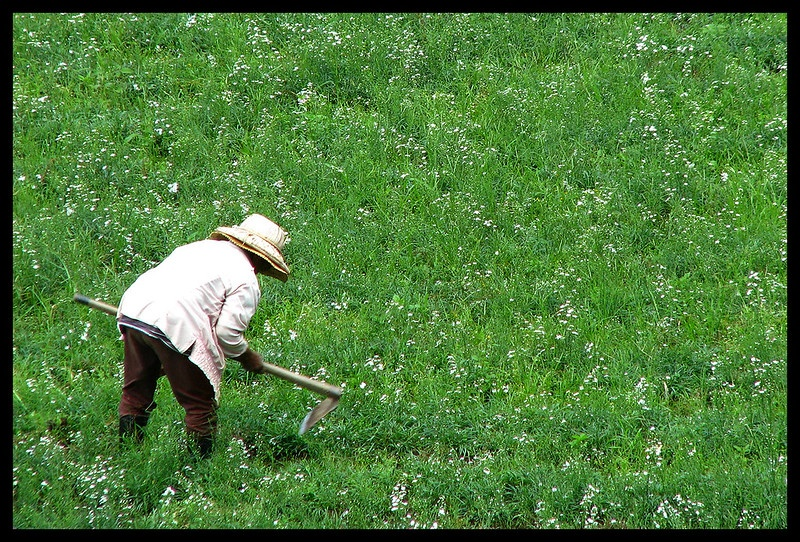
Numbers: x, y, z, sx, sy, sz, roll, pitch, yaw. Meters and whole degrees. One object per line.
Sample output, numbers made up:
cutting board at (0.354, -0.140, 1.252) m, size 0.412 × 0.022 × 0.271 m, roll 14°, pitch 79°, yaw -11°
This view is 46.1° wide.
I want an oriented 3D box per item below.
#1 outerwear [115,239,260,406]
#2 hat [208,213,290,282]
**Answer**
outerwear at (-2.518, 0.544, 11.750) m, size 1.634 × 1.683 × 1.960 m, roll 16°, pitch 90°, yaw -22°
hat at (-1.883, -0.410, 12.025) m, size 1.122 × 1.158 × 0.587 m, roll 27°, pitch 79°, yaw -9°
